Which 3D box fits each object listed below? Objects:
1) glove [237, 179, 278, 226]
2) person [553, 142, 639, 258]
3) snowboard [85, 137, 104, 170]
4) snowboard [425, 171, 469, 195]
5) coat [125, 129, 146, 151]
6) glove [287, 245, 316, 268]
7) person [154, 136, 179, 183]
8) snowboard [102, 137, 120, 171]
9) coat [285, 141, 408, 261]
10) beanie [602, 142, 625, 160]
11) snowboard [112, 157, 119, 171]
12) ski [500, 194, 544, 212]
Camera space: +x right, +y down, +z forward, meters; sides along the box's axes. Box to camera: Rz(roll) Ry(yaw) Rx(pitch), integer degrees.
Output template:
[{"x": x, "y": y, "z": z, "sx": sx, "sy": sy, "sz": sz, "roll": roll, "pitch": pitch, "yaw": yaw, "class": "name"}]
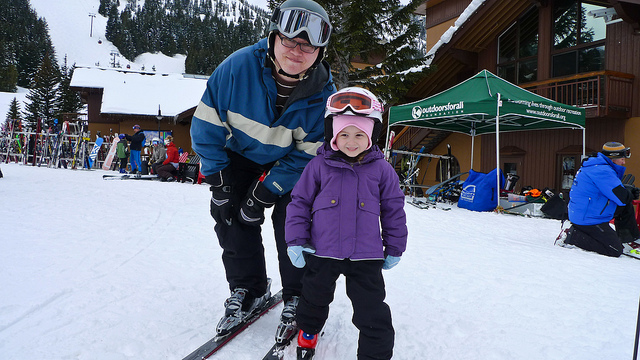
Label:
[{"x": -1.009, "y": 0.308, "z": 6.370, "sx": 0.546, "sy": 0.699, "sz": 0.300, "roll": 32, "pitch": 6, "yaw": -18, "class": "glove"}, {"x": 6.284, "y": 0.380, "z": 8.763, "sx": 1.612, "sy": 2.766, "sz": 0.947, "roll": 4, "pitch": 2, "yaw": -21, "class": "person"}, {"x": -11.193, "y": -1.432, "z": 19.983, "sx": 0.513, "sy": 1.861, "sz": 0.325, "roll": 26, "pitch": -19, "yaw": -12, "class": "snowboard"}, {"x": 4.773, "y": 0.085, "z": 14.975, "sx": 1.257, "sy": 0.176, "sz": 0.369, "roll": -31, "pitch": 2, "yaw": -13, "class": "snowboard"}, {"x": -8.128, "y": -1.815, "z": 17.834, "sx": 0.866, "sy": 1.053, "sz": 0.790, "roll": 12, "pitch": 7, "yaw": -20, "class": "coat"}, {"x": -0.279, "y": 1.076, "z": 5.825, "sx": 0.344, "sy": 0.334, "sz": 0.134, "roll": 8, "pitch": 7, "yaw": 1, "class": "glove"}, {"x": -6.149, "y": -0.895, "z": 16.268, "sx": 0.834, "sy": 1.241, "sz": 1.399, "roll": 4, "pitch": 2, "yaw": -21, "class": "person"}, {"x": -9.624, "y": -1.241, "z": 18.603, "sx": 0.476, "sy": 1.717, "sz": 0.303, "roll": 37, "pitch": -41, "yaw": -26, "class": "snowboard"}, {"x": 0.411, "y": 0.309, "z": 5.880, "sx": 1.730, "sy": 1.475, "sz": 0.311, "roll": 4, "pitch": 2, "yaw": -2, "class": "coat"}, {"x": 6.540, "y": -0.643, "z": 8.932, "sx": 0.388, "sy": 0.324, "sz": 0.409, "roll": -16, "pitch": 12, "yaw": -37, "class": "beanie"}, {"x": -11.791, "y": -0.975, "z": 23.149, "sx": 0.191, "sy": 0.838, "sz": 0.110, "roll": 7, "pitch": -19, "yaw": 16, "class": "snowboard"}, {"x": 6.091, "y": 0.683, "z": 12.067, "sx": 1.644, "sy": 0.141, "sz": 0.297, "roll": -10, "pitch": 0, "yaw": 30, "class": "ski"}]
